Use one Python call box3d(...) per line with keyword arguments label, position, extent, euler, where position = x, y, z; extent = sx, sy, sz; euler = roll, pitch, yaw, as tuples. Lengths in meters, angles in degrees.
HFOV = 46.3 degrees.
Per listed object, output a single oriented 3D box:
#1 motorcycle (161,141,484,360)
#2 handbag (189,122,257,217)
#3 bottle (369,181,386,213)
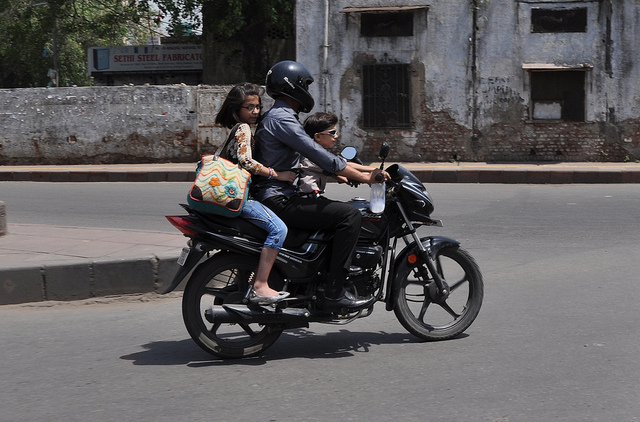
box3d(label="motorcycle", position=(0.164, 0.411, 7.285), extent=(3.640, 1.560, 1.284), euler=(-4, 2, -36))
box3d(label="handbag", position=(-0.856, -0.377, 6.804), extent=(0.498, 0.837, 0.472), euler=(4, 8, 18))
box3d(label="bottle", position=(0.524, -0.117, 6.850), extent=(0.184, 0.243, 0.062), euler=(1, -4, 16))
